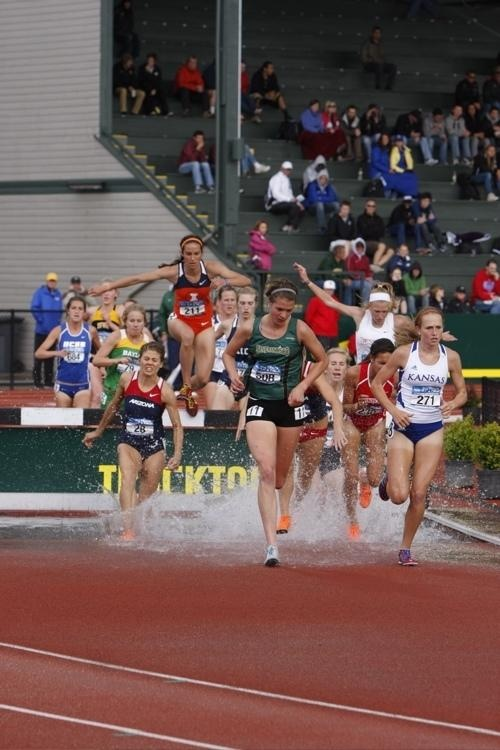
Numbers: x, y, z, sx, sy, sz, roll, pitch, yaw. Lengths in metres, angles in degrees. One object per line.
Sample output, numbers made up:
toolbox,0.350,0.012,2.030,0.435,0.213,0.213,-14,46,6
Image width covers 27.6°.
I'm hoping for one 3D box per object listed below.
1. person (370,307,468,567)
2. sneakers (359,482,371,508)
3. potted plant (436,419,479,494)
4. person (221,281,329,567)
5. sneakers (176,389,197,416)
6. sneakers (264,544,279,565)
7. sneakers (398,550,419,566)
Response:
person,1.206,0.468,7.518,0.688,1.924,0.799,4,8,9
sneakers,1.044,1.074,9.226,0.141,0.229,0.079,1,11,2
potted plant,2.517,0.922,12.022,0.534,0.745,0.581,14,-14,-43
person,0.169,0.357,7.556,0.750,2.107,1.421,3,8,-2
sneakers,-0.627,0.268,10.116,0.089,0.249,0.108,-29,-19,-13
sneakers,0.146,1.255,7.060,0.095,0.151,0.170,3,8,4
sneakers,1.135,1.315,7.341,0.071,0.075,0.168,0,-5,-15
